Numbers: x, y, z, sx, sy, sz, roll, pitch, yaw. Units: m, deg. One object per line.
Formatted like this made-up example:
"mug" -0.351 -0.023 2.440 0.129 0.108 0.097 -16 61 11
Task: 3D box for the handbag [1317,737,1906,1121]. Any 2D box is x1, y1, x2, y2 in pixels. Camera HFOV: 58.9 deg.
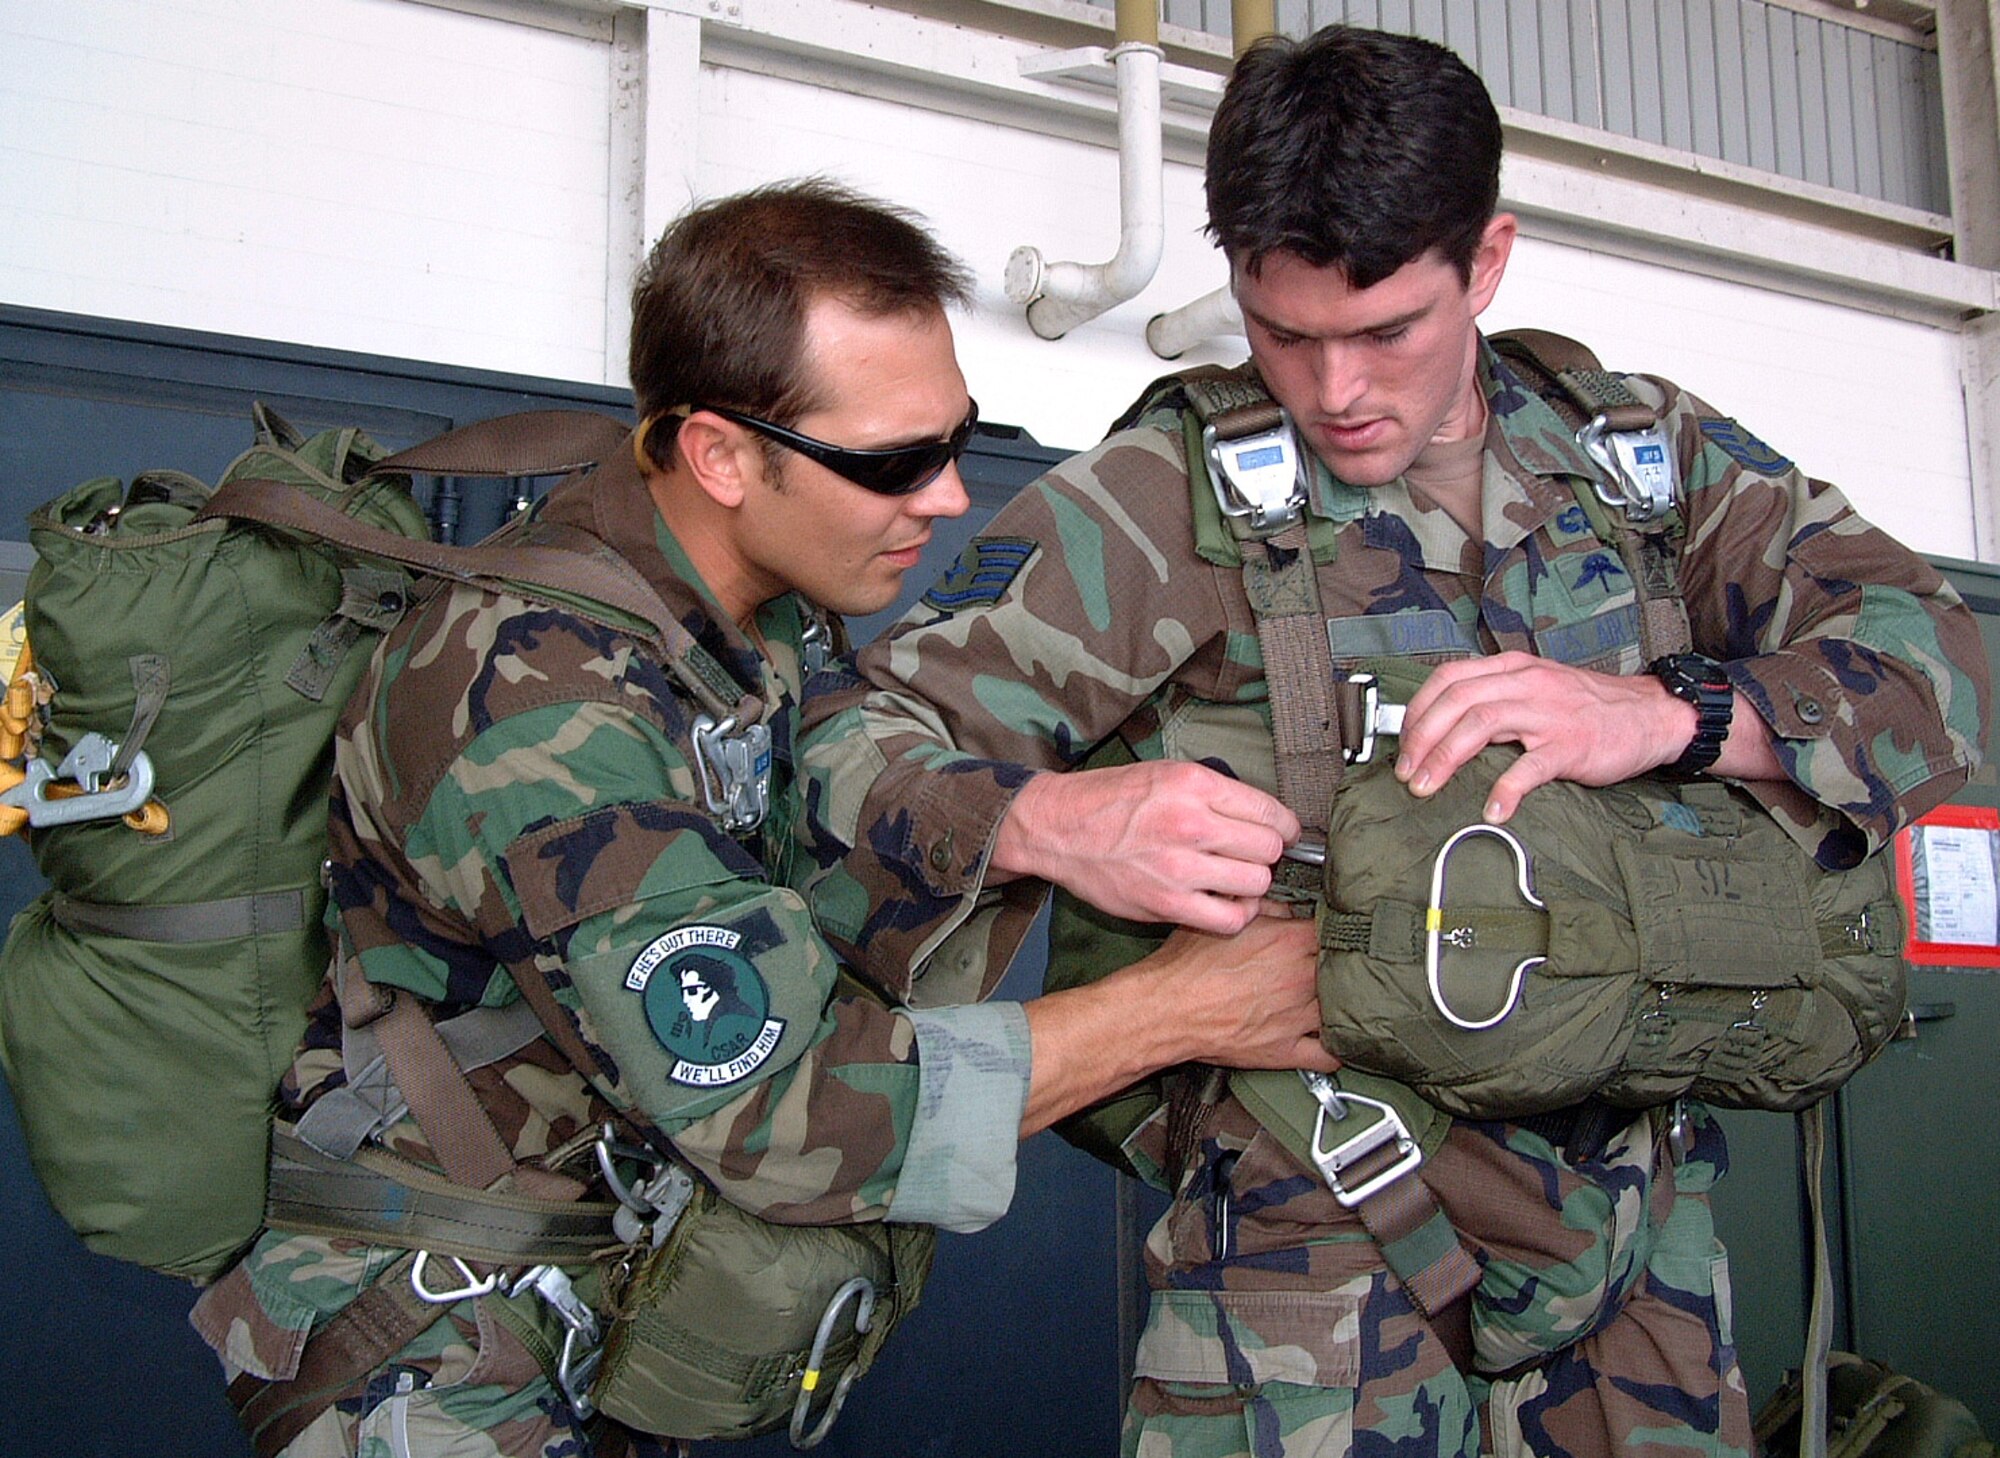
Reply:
"handbag" 0.752 0.272 2.307 0.683 0.423 0.268 1 0 -7

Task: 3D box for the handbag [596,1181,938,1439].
"handbag" -0.268 0.752 2.242 0.389 0.290 0.150 25 7 -35
